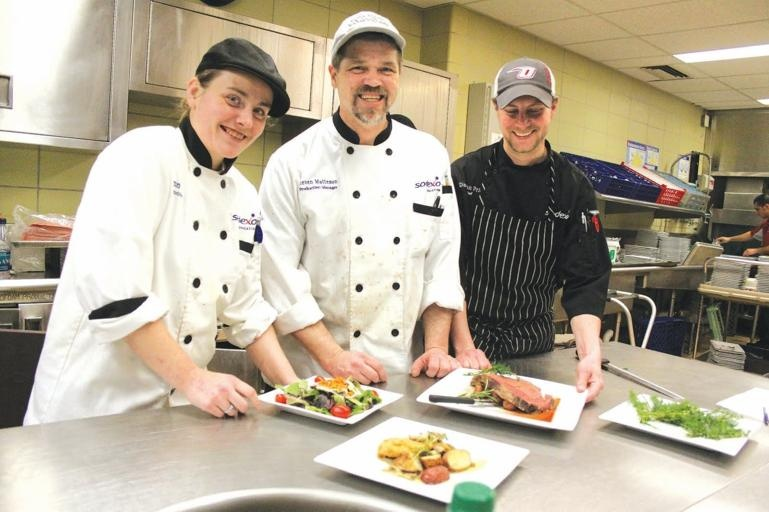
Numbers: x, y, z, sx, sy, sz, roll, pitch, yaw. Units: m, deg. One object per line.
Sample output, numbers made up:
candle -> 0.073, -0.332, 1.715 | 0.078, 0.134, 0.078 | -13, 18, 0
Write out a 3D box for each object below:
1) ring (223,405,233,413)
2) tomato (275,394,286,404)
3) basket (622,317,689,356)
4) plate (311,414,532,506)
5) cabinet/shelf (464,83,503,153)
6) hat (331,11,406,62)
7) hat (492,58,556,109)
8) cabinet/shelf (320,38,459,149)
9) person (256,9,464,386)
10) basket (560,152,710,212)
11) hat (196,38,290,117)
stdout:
ring -> -0.466, 0.460, 1.597 | 0.023, 0.022, 0.022 | -2, 7, 0
tomato -> -0.321, 0.444, 1.656 | 0.024, 0.023, 0.023 | 16, -17, -4
basket -> 2.833, 0.833, 5.405 | 0.464, 0.375, 0.246 | 1, 3, 0
plate -> 0.108, 0.546, 1.426 | 0.480, 0.071, 0.323 | 8, 11, 24
cabinet/shelf -> 0.936, -1.368, 5.470 | 0.261, 0.769, 0.444 | 6, 26, 8
hat -> -0.071, -0.819, 2.006 | 0.193, 0.245, 0.138 | -4, -22, 3
hat -> 0.619, -0.761, 2.333 | 0.274, 0.205, 0.378 | 2, 27, 14
cabinet/shelf -> 0.250, -1.330, 4.813 | 0.314, 0.846, 0.926 | 28, 38, 33
person -> -0.059, -0.042, 2.239 | 0.832, 1.731, 0.743 | -5, 21, -18
basket -> 2.865, -0.837, 5.994 | 1.411, 0.325, 0.533 | 9, 16, -47
hat -> -0.432, -0.601, 1.766 | 0.303, 0.155, 0.234 | 12, -10, 26
